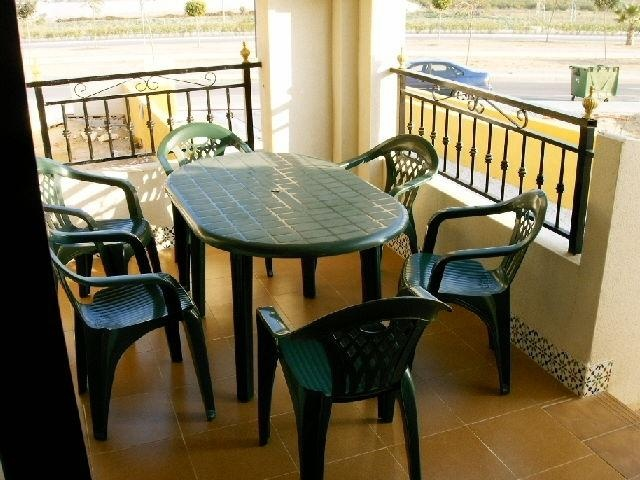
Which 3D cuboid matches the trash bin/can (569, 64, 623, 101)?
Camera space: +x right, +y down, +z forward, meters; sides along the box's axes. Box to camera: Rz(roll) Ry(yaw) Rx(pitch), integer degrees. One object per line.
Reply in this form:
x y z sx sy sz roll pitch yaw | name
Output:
1.950 -1.131 3.544 0.282 0.204 0.174 -7 22 -10 | trash bin/can
